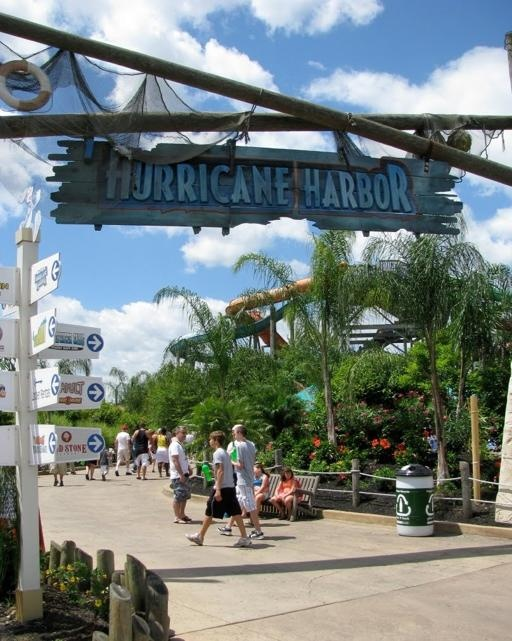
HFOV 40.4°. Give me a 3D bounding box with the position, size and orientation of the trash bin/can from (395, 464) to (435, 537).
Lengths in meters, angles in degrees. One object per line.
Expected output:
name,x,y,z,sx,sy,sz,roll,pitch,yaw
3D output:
trash bin/can,2.210,2.507,9.749,0.489,0.963,0.313,-1,-7,10

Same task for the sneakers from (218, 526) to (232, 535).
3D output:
sneakers,-0.455,3.062,10.167,0.081,0.086,0.213,9,-8,-41

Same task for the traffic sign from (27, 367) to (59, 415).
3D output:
traffic sign,-1.527,0.493,5.062,0.146,0.302,0.525,4,-7,-27

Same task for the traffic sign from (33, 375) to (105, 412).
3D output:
traffic sign,-1.378,0.516,5.062,0.307,0.270,0.756,-6,-7,25

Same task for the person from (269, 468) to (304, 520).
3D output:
person,0.518,2.974,12.034,0.396,0.854,0.640,5,-8,-31

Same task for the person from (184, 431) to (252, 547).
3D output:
person,-0.511,2.242,9.325,0.810,1.481,1.186,1,-7,-4

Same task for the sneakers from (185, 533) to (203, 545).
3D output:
sneakers,-0.806,2.830,9.049,0.211,0.132,0.318,0,-6,0

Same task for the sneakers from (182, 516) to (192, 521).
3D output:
sneakers,-1.117,3.222,11.360,0.056,0.068,0.180,0,-1,40

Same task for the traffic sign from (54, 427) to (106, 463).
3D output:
traffic sign,-1.282,0.898,5.086,0.271,0.267,0.552,-1,-6,8
